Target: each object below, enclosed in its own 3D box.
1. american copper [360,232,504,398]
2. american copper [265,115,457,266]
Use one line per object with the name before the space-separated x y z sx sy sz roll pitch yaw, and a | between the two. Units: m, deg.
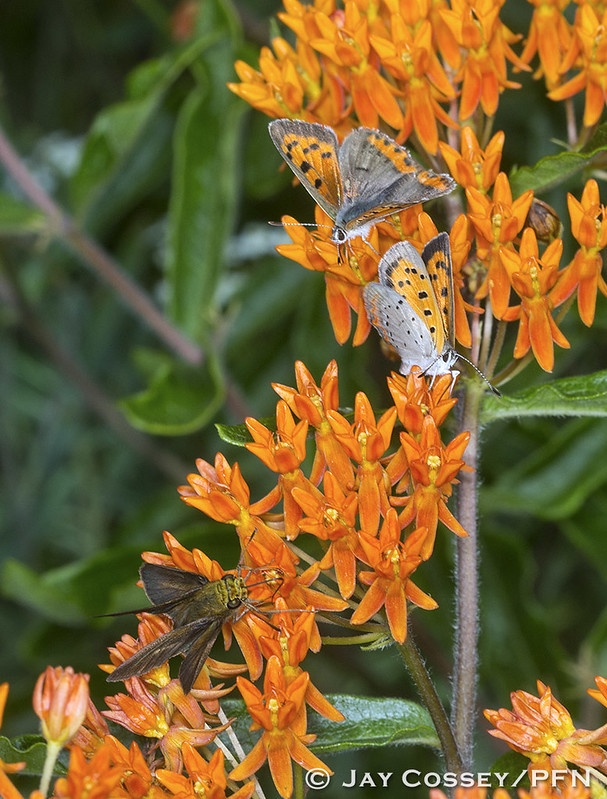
american copper | 0.129 -0.082 0.849 0.128 0.107 0.121 15 100 25
american copper | 0.056 -0.219 0.883 0.141 0.112 0.131 -16 74 2
